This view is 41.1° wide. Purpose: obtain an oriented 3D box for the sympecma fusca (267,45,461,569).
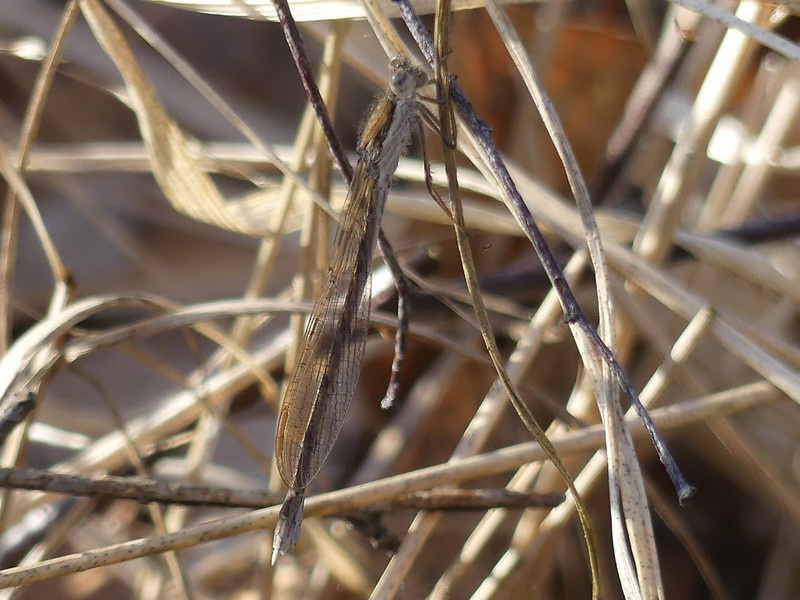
[{"bbox_3d":[-0.054,0.021,1.210,0.195,0.164,0.601,11,-85,-37],"label":"sympecma fusca"}]
